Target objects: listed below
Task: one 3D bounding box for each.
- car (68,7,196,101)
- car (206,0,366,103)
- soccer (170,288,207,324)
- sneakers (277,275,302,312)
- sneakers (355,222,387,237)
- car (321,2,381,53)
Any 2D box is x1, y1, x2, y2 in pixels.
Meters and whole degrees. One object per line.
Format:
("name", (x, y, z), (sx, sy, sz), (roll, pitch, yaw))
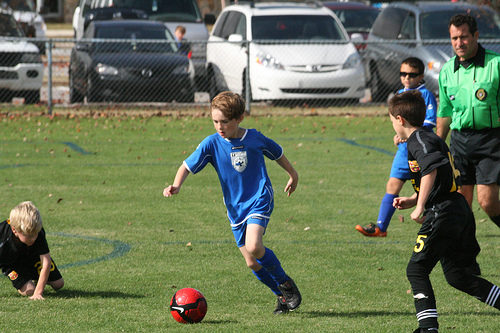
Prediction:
("car", (-2.863, -2.316, 21.259), (2.419, 1.917, 4.180), (-4, 6, -14))
("car", (0.492, -2.518, 20.636), (1.939, 1.554, 3.145), (-2, 6, -18))
("soccer", (-0.737, 1.683, 11.147), (0.434, 0.457, 0.456), (-1, -2, 33))
("sneakers", (0.477, 1.529, 11.130), (0.167, 0.499, 0.227), (-34, -19, 25))
("sneakers", (1.663, 0.907, 12.992), (0.453, 0.215, 0.170), (12, -5, -3))
("car", (2.622, -3.464, 23.455), (1.065, 0.949, 2.110), (1, 22, 0))
